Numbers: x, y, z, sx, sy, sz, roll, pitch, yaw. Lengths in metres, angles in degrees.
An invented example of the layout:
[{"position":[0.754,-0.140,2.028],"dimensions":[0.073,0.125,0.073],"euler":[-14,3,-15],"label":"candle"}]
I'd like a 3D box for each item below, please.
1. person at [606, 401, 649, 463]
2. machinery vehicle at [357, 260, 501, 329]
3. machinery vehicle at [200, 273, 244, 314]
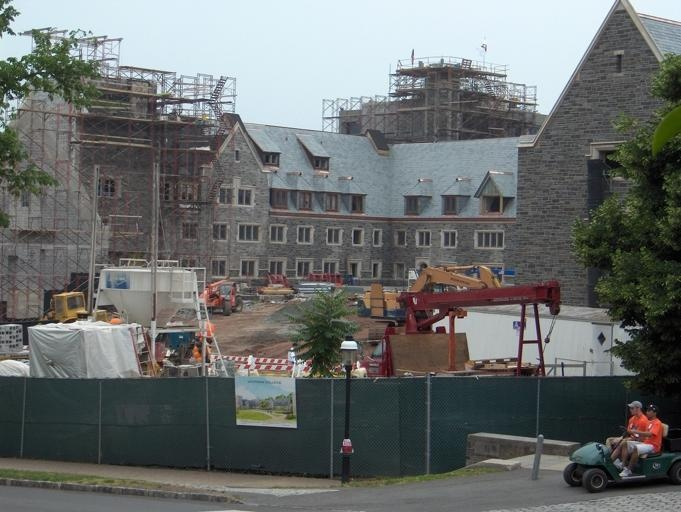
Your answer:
[{"position":[9.597,5.911,55.595],"dimensions":[1.217,2.129,1.205],"euler":[0,-5,23],"label":"person"},{"position":[4.471,1.897,82.538],"dimensions":[7.139,2.813,6.016],"euler":[3,-8,-39],"label":"machinery vehicle"},{"position":[-6.687,2.267,96.743],"dimensions":[1.954,2.066,1.957],"euler":[-1,-1,-28],"label":"machinery vehicle"}]
